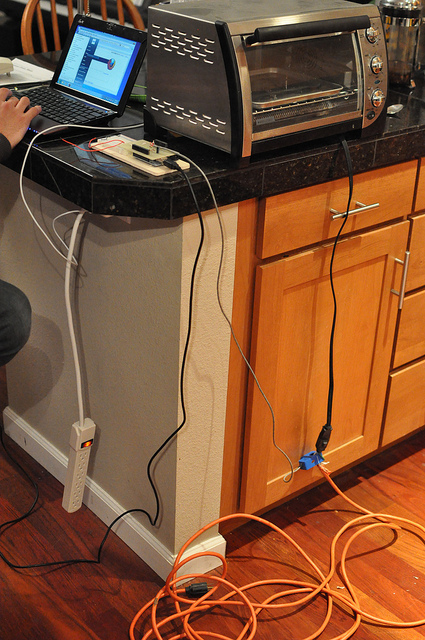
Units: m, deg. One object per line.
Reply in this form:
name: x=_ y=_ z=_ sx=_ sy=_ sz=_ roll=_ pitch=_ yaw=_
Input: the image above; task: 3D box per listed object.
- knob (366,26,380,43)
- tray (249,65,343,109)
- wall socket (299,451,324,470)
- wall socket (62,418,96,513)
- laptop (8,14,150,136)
knob: x=0.282 y=-0.502 z=0.975 sx=0.022 sy=0.027 sz=0.010 roll=-13 pitch=15 yaw=-37
tray: x=0.142 y=-0.385 z=0.913 sx=0.039 sy=0.062 sz=0.236 roll=17 pitch=29 yaw=36
wall socket: x=0.233 y=0.334 z=1.313 sx=0.055 sy=0.020 sz=0.031 roll=-20 pitch=16 yaw=-38
wall socket: x=-0.326 y=0.354 z=1.335 sx=0.038 sy=0.236 sz=0.052 roll=24 pitch=21 yaw=33
laptop: x=-0.303 y=-0.512 z=1.117 sx=0.311 sy=0.166 sz=0.331 roll=-8 pitch=35 yaw=-21
